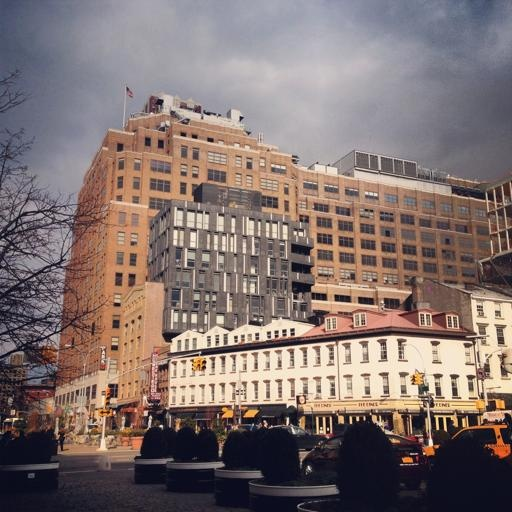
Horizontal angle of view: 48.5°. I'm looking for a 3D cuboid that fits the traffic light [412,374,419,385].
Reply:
[{"bbox_3d":[12.115,9.344,43.105,0.505,0.671,0.586,-4,-19,14],"label":"traffic light"}]
